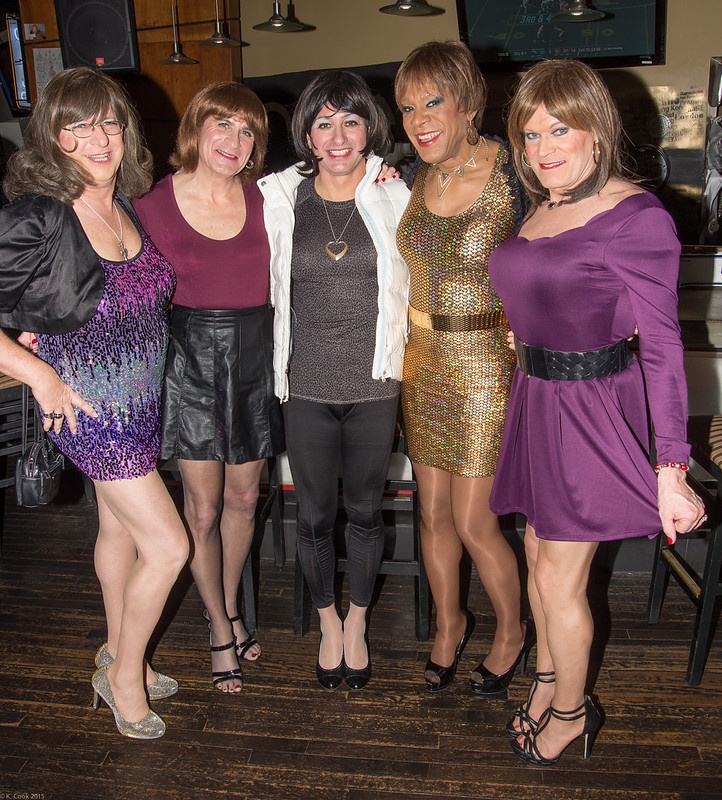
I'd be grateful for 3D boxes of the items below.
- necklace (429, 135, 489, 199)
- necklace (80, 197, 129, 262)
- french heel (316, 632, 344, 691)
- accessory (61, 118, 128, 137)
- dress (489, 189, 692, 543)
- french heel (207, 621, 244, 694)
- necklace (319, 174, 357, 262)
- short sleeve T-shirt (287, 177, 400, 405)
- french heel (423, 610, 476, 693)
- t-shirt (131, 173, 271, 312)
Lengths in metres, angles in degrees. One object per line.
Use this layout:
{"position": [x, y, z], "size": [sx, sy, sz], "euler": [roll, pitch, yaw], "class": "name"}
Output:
{"position": [0.263, -0.636, 1.933], "size": [0.034, 0.181, 0.125], "euler": [10, 23, -39], "class": "necklace"}
{"position": [-0.614, -0.438, 1.702], "size": [0.065, 0.199, 0.015], "euler": [-23, -11, -22], "class": "necklace"}
{"position": [-0.094, 0.842, 2.233], "size": [0.084, 0.164, 0.041], "euler": [-1, -18, 6], "class": "french heel"}
{"position": [-0.626, -0.657, 1.659], "size": [0.147, 0.044, 0.035], "euler": [-19, 26, -37], "class": "accessory"}
{"position": [0.524, -0.030, 1.577], "size": [0.356, 0.849, 0.552], "euler": [-5, 21, -3], "class": "dress"}
{"position": [-0.429, 0.805, 2.226], "size": [0.082, 0.241, 0.072], "euler": [-6, -25, -11], "class": "french heel"}
{"position": [-0.057, -0.484, 1.908], "size": [0.097, 0.162, 0.157], "euler": [-5, 21, -2], "class": "necklace"}
{"position": [-0.069, -0.274, 1.814], "size": [0.396, 0.510, 0.145], "euler": [1, 3, -3], "class": "short sleeve T-shirt"}
{"position": [0.261, 0.853, 2.266], "size": [0.093, 0.324, 0.097], "euler": [34, -16, -37], "class": "french heel"}
{"position": [-0.439, -0.433, 1.883], "size": [0.376, 0.320, 0.203], "euler": [-14, 21, -38], "class": "t-shirt"}
